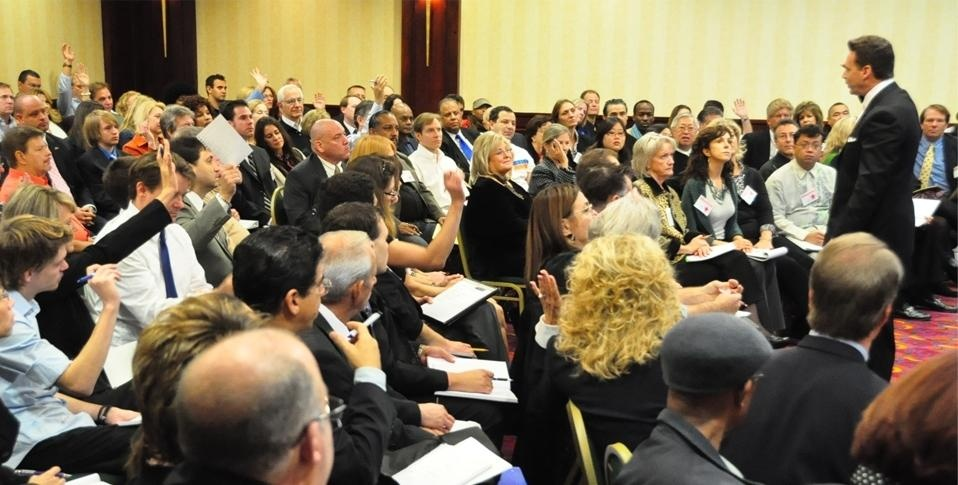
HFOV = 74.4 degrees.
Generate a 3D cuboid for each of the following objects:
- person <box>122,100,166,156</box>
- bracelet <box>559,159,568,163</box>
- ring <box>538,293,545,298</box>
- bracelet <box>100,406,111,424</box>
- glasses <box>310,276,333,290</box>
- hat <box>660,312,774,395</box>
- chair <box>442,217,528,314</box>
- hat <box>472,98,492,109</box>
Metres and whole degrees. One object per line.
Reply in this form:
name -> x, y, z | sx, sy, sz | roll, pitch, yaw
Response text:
person -> -3.864, -1.301, 7.385 | 0.488, 0.746, 0.551 | 4, 8, 4
bracelet -> 0.980, -0.947, 7.333 | 0.060, 0.051, 0.061 | -6, -10, 42
ring -> 0.411, 0.354, 4.214 | 0.042, 0.034, 0.041 | 0, -10, 0
bracelet -> -2.272, 1.038, 3.809 | 0.037, 0.082, 0.066 | 13, -2, -34
glasses -> -0.919, 0.232, 3.640 | 0.075, 0.066, 0.020 | 6, 29, -13
hat -> 1.127, 0.524, 3.083 | 0.512, 0.240, 0.337 | -22, 43, -10
chair -> 0.159, 0.241, 6.185 | 0.707, 0.968, 0.631 | 10, 23, 15
hat -> 0.022, -2.399, 10.871 | 0.304, 0.170, 0.398 | -3, -2, -15
